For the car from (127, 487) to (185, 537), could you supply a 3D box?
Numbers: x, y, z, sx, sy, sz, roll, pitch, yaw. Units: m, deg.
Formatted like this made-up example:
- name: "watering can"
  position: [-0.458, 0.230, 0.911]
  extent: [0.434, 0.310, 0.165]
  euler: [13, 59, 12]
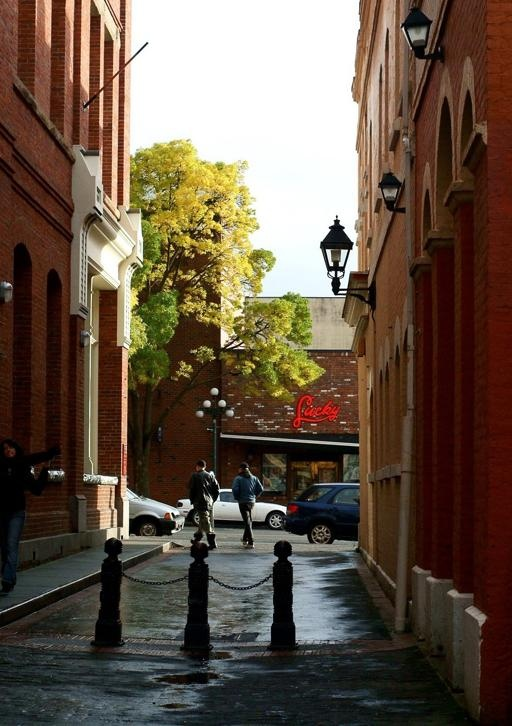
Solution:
- name: "car"
  position: [-2.694, 4.098, 24.786]
  extent: [1.566, 0.880, 0.908]
  euler: [-2, 0, 4]

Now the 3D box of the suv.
- name: "suv"
  position: [1.799, 4.036, 24.571]
  extent: [1.815, 1.617, 0.803]
  euler: [0, -7, -1]
